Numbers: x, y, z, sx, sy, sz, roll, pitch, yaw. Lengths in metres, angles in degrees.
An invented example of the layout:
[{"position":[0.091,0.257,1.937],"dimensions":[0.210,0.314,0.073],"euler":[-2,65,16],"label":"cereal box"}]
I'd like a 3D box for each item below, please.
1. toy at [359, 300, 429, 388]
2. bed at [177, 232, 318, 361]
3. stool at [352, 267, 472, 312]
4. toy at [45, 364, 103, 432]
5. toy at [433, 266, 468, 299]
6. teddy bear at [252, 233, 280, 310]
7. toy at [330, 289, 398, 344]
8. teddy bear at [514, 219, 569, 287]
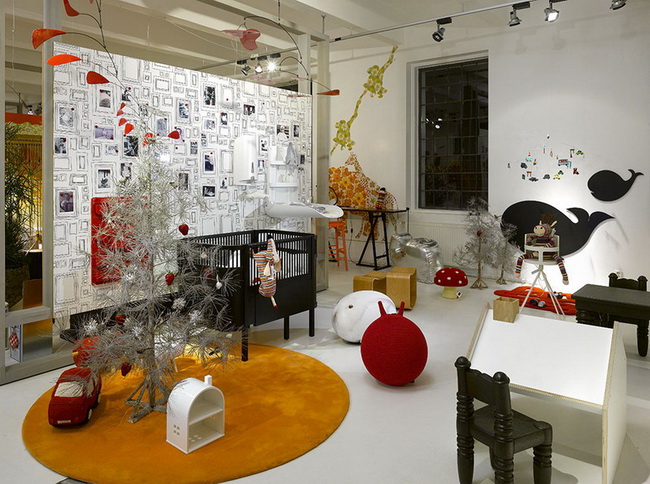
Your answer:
[{"position":[0.472,0.941,3.931],"dimensions":[0.588,0.758,0.596],"euler":[1,-19,-13],"label":"toy"},{"position":[-0.780,0.426,4.844],"dimensions":[1.059,1.434,1.837],"euler":[1,2,30],"label":"bed"},{"position":[0.849,0.584,5.799],"dimensions":[0.901,0.546,0.645],"euler":[1,5,16],"label":"stool"},{"position":[-1.870,1.137,3.323],"dimensions":[0.280,0.289,0.570],"euler":[3,17,-9],"label":"toy"},{"position":[1.840,0.583,6.472],"dimensions":[0.453,0.403,0.469],"euler":[-1,1,-37],"label":"toy"},{"position":[-0.583,0.335,4.398],"dimensions":[0.262,0.729,0.318],"euler":[-1,10,-5],"label":"teddy bear"},{"position":[0.449,0.776,4.704],"dimensions":[0.589,0.456,0.578],"euler":[-10,0,-43],"label":"toy"},{"position":[2.731,0.117,5.399],"dimensions":[0.602,0.761,0.360],"euler":[3,9,41],"label":"teddy bear"}]
